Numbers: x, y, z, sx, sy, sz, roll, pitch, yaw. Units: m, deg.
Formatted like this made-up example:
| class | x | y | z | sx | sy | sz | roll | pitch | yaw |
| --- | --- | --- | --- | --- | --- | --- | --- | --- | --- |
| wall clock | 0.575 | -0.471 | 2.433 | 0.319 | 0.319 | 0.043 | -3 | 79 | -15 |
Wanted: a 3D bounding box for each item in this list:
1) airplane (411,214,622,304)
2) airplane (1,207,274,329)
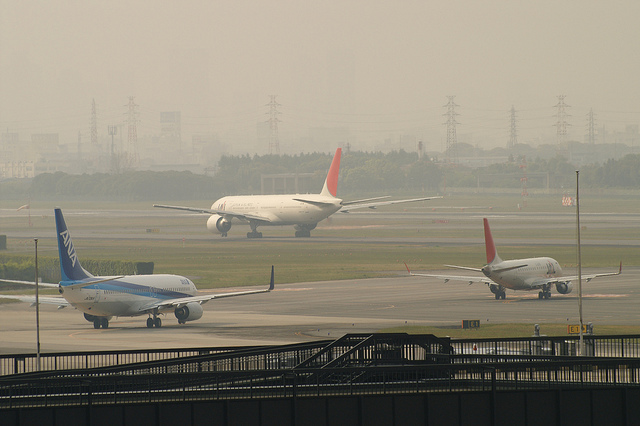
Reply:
| class | x | y | z | sx | sy | sz | roll | pitch | yaw |
| --- | --- | --- | --- | --- | --- | --- | --- | --- | --- |
| airplane | 35.646 | 10.195 | 296.028 | 40.809 | 13.239 | 31.534 | -1 | -3 | -11 |
| airplane | -32.056 | 13.822 | 281.330 | 36.218 | 13.396 | 27.968 | 2 | 3 | 36 |
